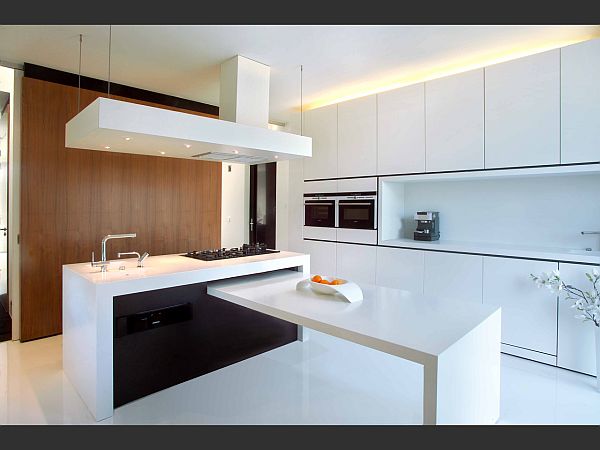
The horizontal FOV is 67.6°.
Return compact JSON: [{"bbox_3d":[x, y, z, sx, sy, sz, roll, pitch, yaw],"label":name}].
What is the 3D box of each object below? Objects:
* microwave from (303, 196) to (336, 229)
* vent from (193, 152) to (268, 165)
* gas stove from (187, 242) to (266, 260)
[{"bbox_3d":[0.265,-0.169,6.122,0.356,0.377,0.509,1,1,-44],"label":"microwave"},{"bbox_3d":[-0.694,-0.670,4.516,0.526,0.108,0.804,6,11,31],"label":"vent"},{"bbox_3d":[-0.708,0.284,4.583,0.858,0.071,0.531,-8,13,-43],"label":"gas stove"}]
